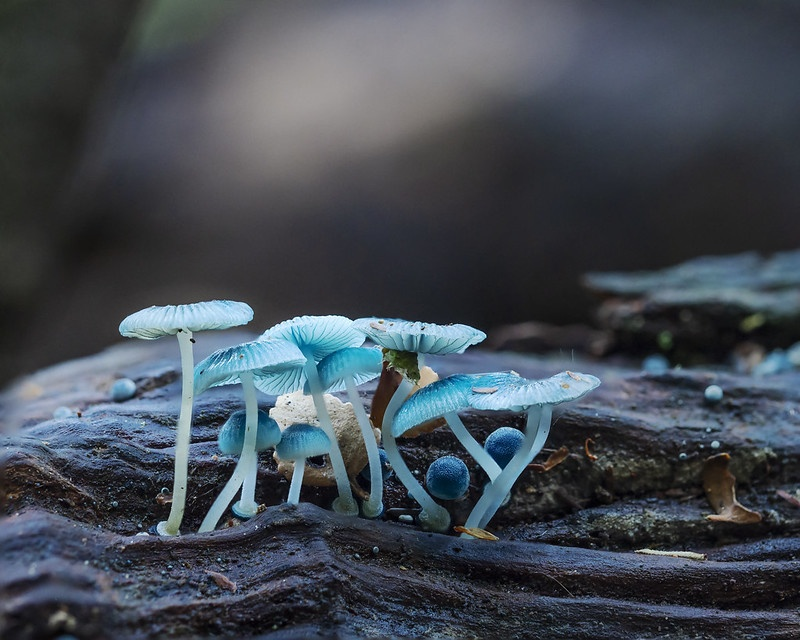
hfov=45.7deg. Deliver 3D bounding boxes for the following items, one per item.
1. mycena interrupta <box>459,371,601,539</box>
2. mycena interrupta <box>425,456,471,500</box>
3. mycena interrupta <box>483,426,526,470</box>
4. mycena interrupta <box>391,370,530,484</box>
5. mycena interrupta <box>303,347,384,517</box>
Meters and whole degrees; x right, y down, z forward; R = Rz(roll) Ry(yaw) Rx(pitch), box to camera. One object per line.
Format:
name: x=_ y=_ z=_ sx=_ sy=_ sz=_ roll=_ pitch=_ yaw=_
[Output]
mycena interrupta: x=0.581 y=0.590 z=4.281 sx=0.767 sy=0.661 sz=0.681 roll=3 pitch=-18 yaw=-27
mycena interrupta: x=0.231 y=0.726 z=4.350 sx=0.251 sy=0.207 sz=0.201 roll=4 pitch=23 yaw=5
mycena interrupta: x=0.470 y=0.596 z=4.435 sx=0.224 sy=0.185 sz=0.182 roll=7 pitch=-34 yaw=-3
mycena interrupta: x=0.223 y=0.431 z=4.361 sx=0.523 sy=0.490 sz=0.507 roll=-9 pitch=9 yaw=-36
mycena interrupta: x=-0.222 y=0.506 z=4.390 sx=0.430 sy=0.733 sz=0.398 roll=3 pitch=-10 yaw=-42
